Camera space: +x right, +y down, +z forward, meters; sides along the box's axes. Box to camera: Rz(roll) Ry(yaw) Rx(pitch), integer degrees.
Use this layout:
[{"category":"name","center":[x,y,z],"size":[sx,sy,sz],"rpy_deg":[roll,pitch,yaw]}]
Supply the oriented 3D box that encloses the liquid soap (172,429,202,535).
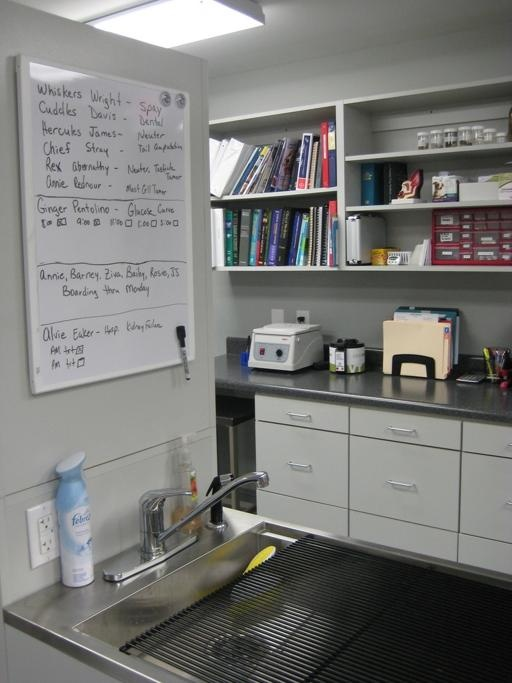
[{"category":"liquid soap","center":[-0.165,0.323,1.269],"size":[0.076,0.188,0.070],"rpy_deg":[14,14,41]}]

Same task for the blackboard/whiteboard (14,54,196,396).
[{"category":"blackboard/whiteboard","center":[-0.266,-0.225,1.102],"size":[0.045,0.615,0.478],"rpy_deg":[1,2,31]}]

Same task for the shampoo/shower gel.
[{"category":"shampoo/shower gel","center":[-0.324,0.321,1.024],"size":[0.064,0.228,0.065],"rpy_deg":[13,14,32]}]

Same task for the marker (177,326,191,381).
[{"category":"marker","center":[-0.160,0.028,1.279],"size":[0.030,0.110,0.013],"rpy_deg":[-17,17,-41]}]

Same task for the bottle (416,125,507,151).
[{"category":"bottle","center":[0.908,-0.879,2.544],"size":[0.392,0.140,0.192],"rpy_deg":[3,11,22]}]

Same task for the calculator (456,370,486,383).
[{"category":"calculator","center":[1.011,0.179,2.644],"size":[0.123,0.029,0.139],"rpy_deg":[1,2,26]}]
